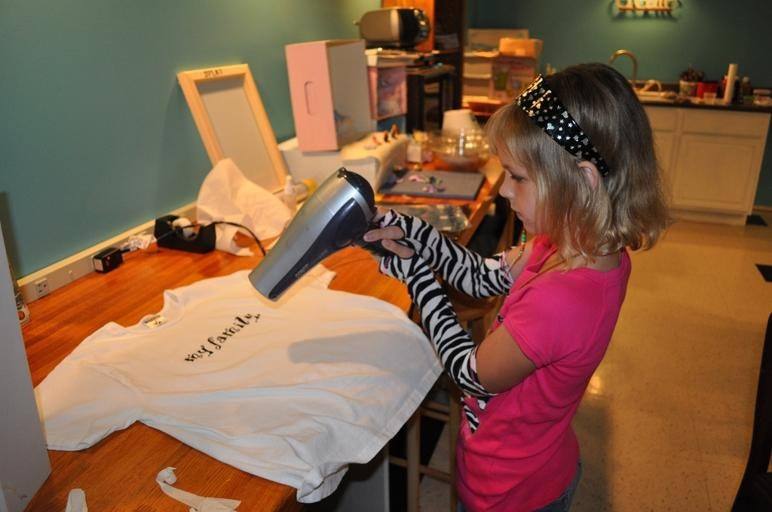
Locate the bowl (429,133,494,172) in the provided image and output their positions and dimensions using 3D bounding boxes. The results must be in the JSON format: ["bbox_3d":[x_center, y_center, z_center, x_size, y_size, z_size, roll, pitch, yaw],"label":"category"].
[{"bbox_3d":[0.353,-0.434,2.419,0.220,0.153,0.224,-2,18,1],"label":"bowl"}]

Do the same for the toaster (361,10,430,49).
[{"bbox_3d":[0.083,-1.074,2.597,0.374,0.180,0.207,-17,27,-30],"label":"toaster"}]

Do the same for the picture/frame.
[{"bbox_3d":[-0.575,-0.462,2.039,0.047,0.572,0.392,-11,17,36],"label":"picture/frame"}]
